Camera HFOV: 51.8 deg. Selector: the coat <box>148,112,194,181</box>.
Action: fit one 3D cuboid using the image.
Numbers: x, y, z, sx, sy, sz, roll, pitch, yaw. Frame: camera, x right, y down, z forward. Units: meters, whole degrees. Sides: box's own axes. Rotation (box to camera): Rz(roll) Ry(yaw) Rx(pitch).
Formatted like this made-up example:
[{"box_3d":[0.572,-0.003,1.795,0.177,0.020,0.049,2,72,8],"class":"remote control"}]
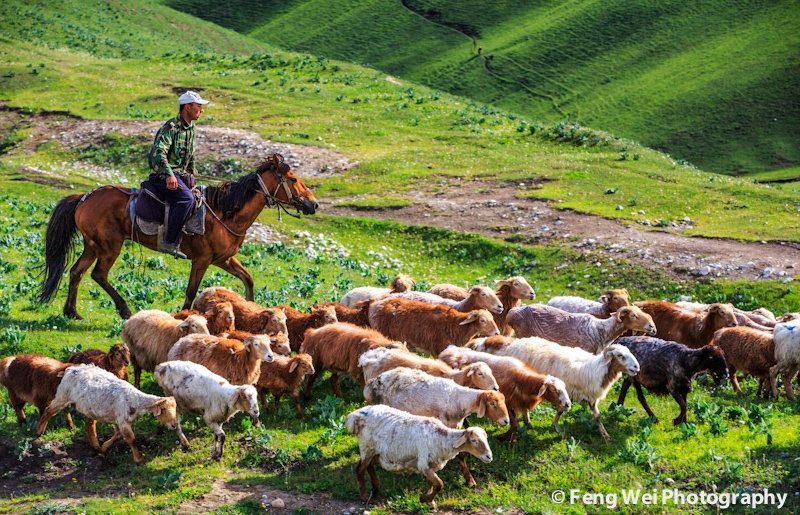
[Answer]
[{"box_3d":[-8.514,-4.151,30.861,0.714,2.454,1.682,15,14,35],"class":"coat"}]
